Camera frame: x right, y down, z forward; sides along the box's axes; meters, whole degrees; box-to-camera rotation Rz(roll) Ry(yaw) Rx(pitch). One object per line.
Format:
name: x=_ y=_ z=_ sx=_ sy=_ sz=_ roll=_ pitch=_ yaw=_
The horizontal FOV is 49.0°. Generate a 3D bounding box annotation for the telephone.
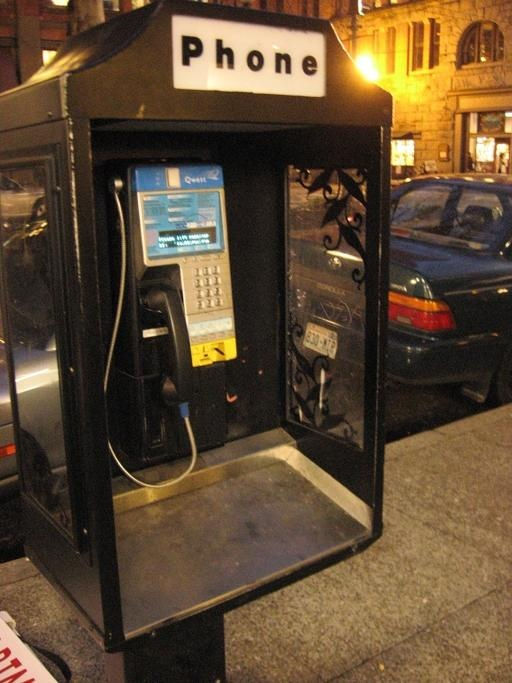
telephone: x=-0.255 y=-0.217 z=1.926 sx=0.338 sy=0.722 sz=0.199 roll=-10 pitch=9 yaw=-30
